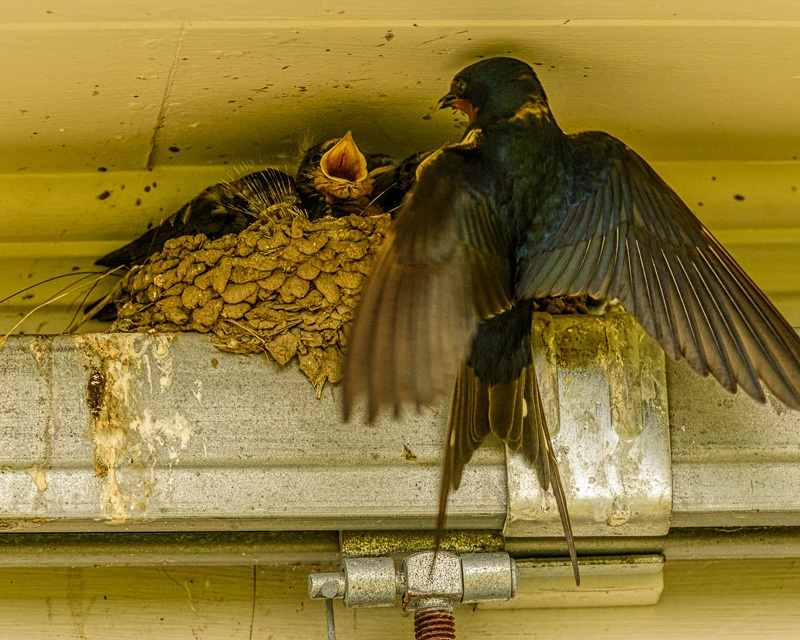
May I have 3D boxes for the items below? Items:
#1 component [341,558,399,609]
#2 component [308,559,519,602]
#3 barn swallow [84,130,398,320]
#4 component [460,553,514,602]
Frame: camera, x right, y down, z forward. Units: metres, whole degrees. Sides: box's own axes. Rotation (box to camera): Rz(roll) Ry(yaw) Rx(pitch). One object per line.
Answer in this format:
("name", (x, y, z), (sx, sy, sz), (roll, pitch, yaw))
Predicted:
("component", (-0.083, 0.690, 5.650), (0.150, 0.126, 0.120), (0, 1, -9))
("component", (0.044, 0.689, 5.674), (0.575, 0.131, 0.133), (0, 1, -8))
("barn swallow", (-0.487, -0.283, 6.586), (1.121, 0.501, 0.377), (-1, -2, 29))
("component", (0.208, 0.698, 5.757), (0.174, 0.119, 0.128), (4, 5, -24))
